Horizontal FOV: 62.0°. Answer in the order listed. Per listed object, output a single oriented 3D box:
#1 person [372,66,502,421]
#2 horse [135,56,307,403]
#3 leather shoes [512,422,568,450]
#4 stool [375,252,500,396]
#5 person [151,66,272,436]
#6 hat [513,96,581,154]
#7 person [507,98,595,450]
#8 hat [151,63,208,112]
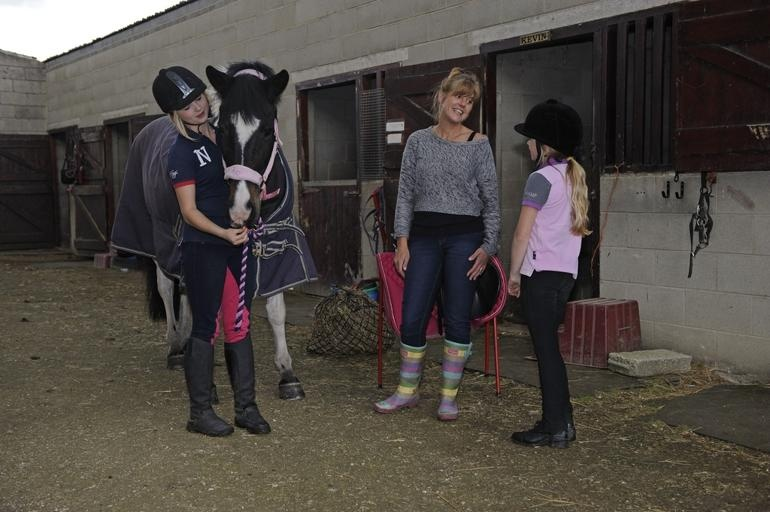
[{"bbox_3d":[0.383,-0.095,4.382,0.777,2.345,0.397,1,7,10],"label":"person"},{"bbox_3d":[-1.434,-0.247,5.481,1.062,2.525,3.514,-9,12,-26],"label":"horse"},{"bbox_3d":[0.986,1.117,4.067,0.321,0.159,0.138,3,2,10],"label":"leather shoes"},{"bbox_3d":[0.525,0.408,4.868,0.714,0.996,0.786,9,-15,-6],"label":"stool"},{"bbox_3d":[-1.082,-0.008,3.982,0.628,2.297,0.380,0,7,-2],"label":"person"},{"bbox_3d":[1.054,-0.811,4.129,0.383,0.261,0.313,29,22,15],"label":"hat"},{"bbox_3d":[1.024,0.086,4.051,0.453,2.136,0.469,3,8,23],"label":"person"},{"bbox_3d":[-1.235,-0.982,3.846,0.251,0.200,0.316,-50,31,-18],"label":"hat"}]
